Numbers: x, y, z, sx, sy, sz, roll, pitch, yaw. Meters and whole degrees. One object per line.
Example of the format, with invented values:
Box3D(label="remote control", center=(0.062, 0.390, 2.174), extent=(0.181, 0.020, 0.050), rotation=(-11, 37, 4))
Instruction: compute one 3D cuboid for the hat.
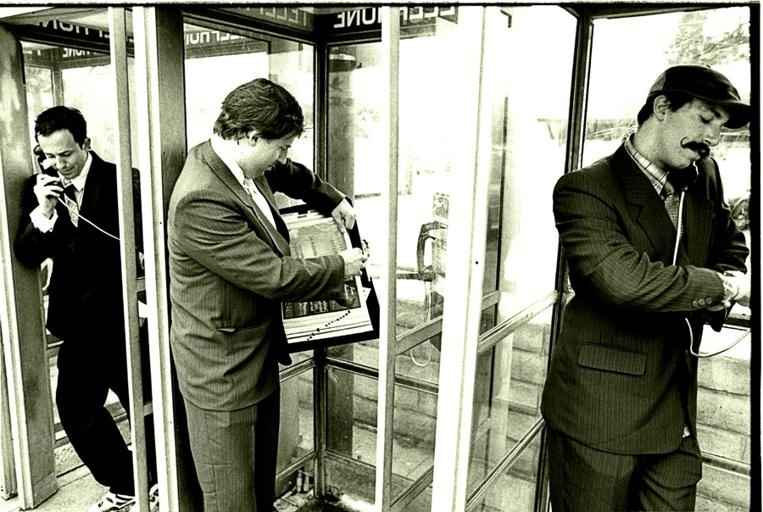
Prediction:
Box3D(label="hat", center=(1.402, -0.723, 3.335), extent=(0.425, 0.199, 0.320), rotation=(19, 8, 40))

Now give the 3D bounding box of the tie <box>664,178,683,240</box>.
Box3D(label="tie", center=(1.292, -0.236, 3.364), extent=(0.046, 0.194, 0.112), rotation=(-9, 5, -22))

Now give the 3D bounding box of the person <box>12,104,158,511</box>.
Box3D(label="person", center=(-1.739, 0.328, 4.431), extent=(0.640, 2.325, 0.400), rotation=(3, 14, 13))

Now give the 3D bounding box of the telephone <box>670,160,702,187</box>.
Box3D(label="telephone", center=(1.339, -0.370, 3.375), extent=(0.117, 0.086, 0.118), rotation=(-6, 11, -19))
